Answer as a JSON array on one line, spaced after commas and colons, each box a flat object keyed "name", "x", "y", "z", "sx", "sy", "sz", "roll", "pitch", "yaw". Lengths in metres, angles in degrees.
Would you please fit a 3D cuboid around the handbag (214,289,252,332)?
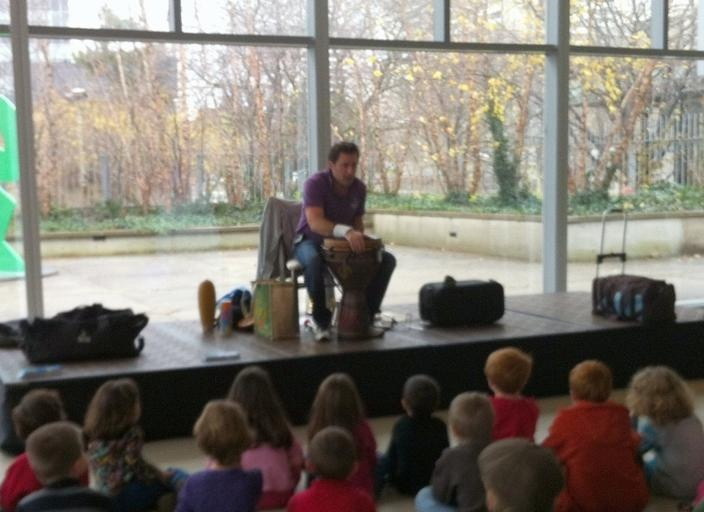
[{"name": "handbag", "x": -0.865, "y": 0.403, "z": 4.787, "sx": 0.303, "sy": 0.334, "sz": 0.230, "roll": 2, "pitch": -7, "yaw": 2}]

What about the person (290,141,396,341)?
[{"name": "person", "x": -0.052, "y": -0.159, "z": 4.620, "sx": 0.721, "sy": 1.397, "sz": 0.791, "roll": -1, "pitch": 4, "yaw": -14}]

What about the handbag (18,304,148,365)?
[{"name": "handbag", "x": -1.707, "y": 0.505, "z": 3.985, "sx": 0.604, "sy": 0.262, "sz": 0.424, "roll": 1, "pitch": 0, "yaw": -19}]

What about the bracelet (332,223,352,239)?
[{"name": "bracelet", "x": -0.068, "y": -0.184, "z": 4.459, "sx": 0.108, "sy": 0.093, "sz": 0.095, "roll": 5, "pitch": 0, "yaw": -11}]

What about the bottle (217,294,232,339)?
[{"name": "bottle", "x": -0.925, "y": 0.445, "z": 4.582, "sx": 0.099, "sy": 0.231, "sz": 0.268, "roll": -1, "pitch": 4, "yaw": -12}]
